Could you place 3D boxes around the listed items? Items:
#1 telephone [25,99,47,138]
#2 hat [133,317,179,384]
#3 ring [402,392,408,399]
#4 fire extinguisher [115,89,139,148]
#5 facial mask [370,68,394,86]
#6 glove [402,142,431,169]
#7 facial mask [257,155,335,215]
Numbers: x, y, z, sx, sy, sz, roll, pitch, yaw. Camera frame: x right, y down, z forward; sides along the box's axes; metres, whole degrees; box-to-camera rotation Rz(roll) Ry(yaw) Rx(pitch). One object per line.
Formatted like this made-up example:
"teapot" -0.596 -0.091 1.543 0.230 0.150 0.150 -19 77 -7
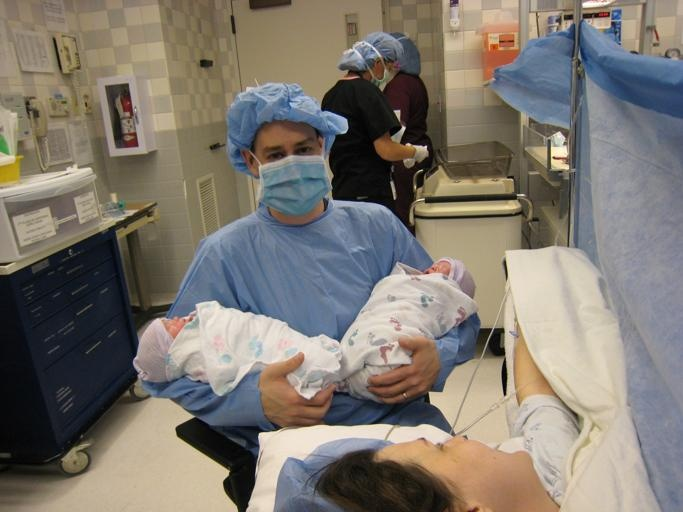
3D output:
"telephone" -1.899 -0.866 3.331 0.108 0.254 0.043 -12 45 -30
"hat" -0.534 0.289 1.564 0.103 0.185 0.126 1 10 -30
"ring" 0.183 0.399 1.521 0.010 0.018 0.017 -2 -8 -1
"fire extinguisher" -1.541 -0.979 3.838 0.134 0.389 0.041 -5 19 0
"facial mask" 0.250 -1.105 3.220 0.070 0.160 0.132 -7 6 -35
"glove" 0.431 -0.554 3.164 0.124 0.188 0.077 3 35 -13
"facial mask" -0.145 -0.235 1.700 0.159 0.130 0.204 -10 19 -6
